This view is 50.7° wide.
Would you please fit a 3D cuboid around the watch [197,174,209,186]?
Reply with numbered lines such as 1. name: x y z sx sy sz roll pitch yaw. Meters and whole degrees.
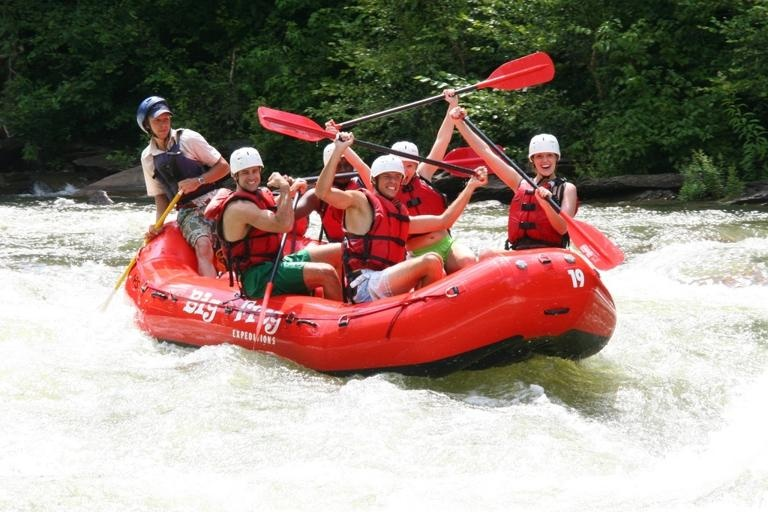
1. watch: -2.071 -0.877 9.216 0.105 0.089 0.030 1 -4 -36

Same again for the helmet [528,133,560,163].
1. helmet: 1.638 -1.120 8.385 0.265 0.278 0.239 -1 -1 7

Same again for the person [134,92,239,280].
1. person: -2.206 -0.574 9.343 1.064 2.383 0.917 -11 -9 -16

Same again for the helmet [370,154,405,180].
1. helmet: 0.030 -0.873 7.899 0.305 0.223 0.206 0 6 1

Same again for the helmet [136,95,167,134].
1. helmet: -2.627 -1.621 9.210 0.414 0.315 0.304 3 8 30

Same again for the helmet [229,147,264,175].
1. helmet: -1.404 -0.956 8.255 0.270 0.239 0.327 -4 -26 -17

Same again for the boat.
1. boat: -0.271 0.190 7.924 3.621 0.799 2.055 4 3 31
